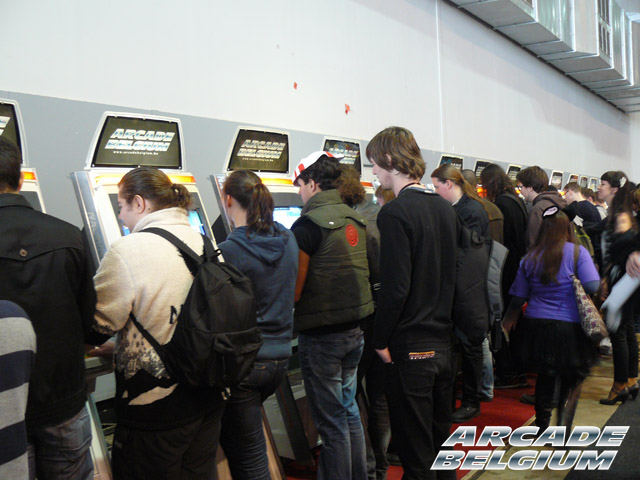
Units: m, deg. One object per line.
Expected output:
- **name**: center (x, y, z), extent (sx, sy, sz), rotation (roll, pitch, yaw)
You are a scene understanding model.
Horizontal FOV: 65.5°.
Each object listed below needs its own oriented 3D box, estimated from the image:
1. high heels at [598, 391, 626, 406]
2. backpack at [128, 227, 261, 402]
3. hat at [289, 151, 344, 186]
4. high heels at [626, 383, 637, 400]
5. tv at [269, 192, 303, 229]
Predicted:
- **high heels**: center (2.114, 1.143, 3.649), extent (0.193, 0.098, 0.069), rotation (-12, -3, 43)
- **backpack**: center (-0.433, 0.280, 2.137), extent (0.636, 0.667, 0.428), rotation (9, 6, 15)
- **hat**: center (-0.039, -0.394, 2.814), extent (0.175, 0.129, 0.242), rotation (-26, 16, -29)
- **high heels**: center (2.203, 1.063, 3.525), extent (0.045, 0.142, 0.071), rotation (-4, 43, 10)
- **tv**: center (-0.220, -0.185, 3.019), extent (0.112, 0.203, 0.211), rotation (-19, -7, 35)
